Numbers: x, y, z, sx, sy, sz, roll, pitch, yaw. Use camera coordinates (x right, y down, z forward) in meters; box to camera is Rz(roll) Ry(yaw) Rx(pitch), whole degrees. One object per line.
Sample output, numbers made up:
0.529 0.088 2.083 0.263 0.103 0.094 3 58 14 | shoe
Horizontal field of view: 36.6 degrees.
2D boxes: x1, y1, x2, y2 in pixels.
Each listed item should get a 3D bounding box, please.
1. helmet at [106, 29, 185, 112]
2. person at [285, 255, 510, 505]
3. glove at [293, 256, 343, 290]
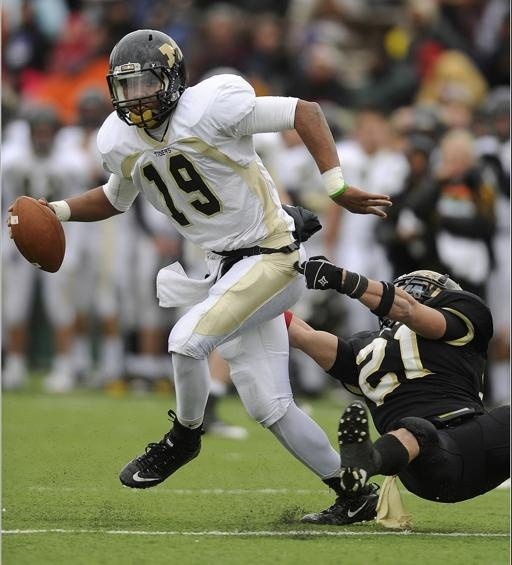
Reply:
-0.345 -0.676 2.462 0.286 0.217 0.319 -4 16 18 | helmet
0.454 0.320 2.556 0.715 0.767 0.653 6 -3 -21 | person
0.192 -0.024 2.449 0.226 0.105 0.113 4 -7 -2 | glove
